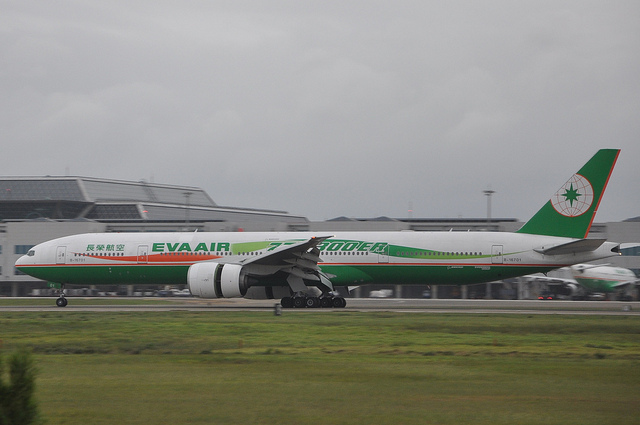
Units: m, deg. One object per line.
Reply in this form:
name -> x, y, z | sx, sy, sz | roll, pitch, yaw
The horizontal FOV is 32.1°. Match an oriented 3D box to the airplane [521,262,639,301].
airplane -> 16.721, 4.226, 68.869 | 5.558, 1.265, 4.705 | -2, 5, -14
